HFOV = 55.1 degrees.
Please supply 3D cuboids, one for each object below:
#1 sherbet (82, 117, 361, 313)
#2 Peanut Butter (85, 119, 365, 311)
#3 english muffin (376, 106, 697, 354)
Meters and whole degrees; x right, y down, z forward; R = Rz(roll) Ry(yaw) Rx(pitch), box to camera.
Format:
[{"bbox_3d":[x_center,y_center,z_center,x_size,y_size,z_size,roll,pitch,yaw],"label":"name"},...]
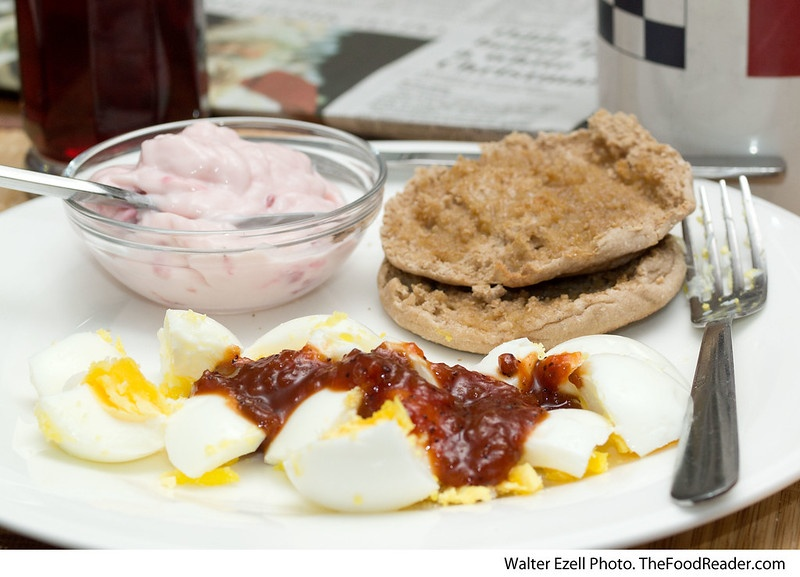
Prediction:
[{"bbox_3d":[-0.302,-0.160,1.676,0.530,0.456,0.675,1,10,31],"label":"sherbet"},{"bbox_3d":[-0.360,-0.159,1.713,0.524,0.197,0.513,1,27,3],"label":"Peanut Butter"},{"bbox_3d":[0.299,-0.122,1.642,0.664,0.205,0.573,-14,35,-5],"label":"english muffin"}]
